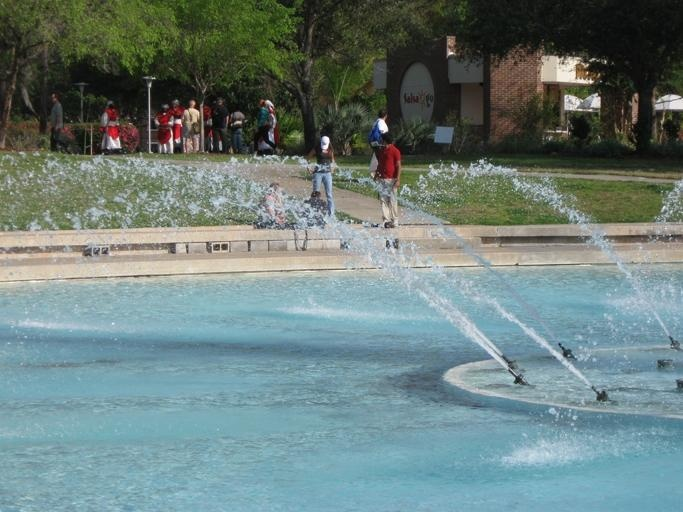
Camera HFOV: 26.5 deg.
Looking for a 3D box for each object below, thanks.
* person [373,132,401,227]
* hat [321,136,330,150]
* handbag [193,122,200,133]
[{"bbox_3d":[1.113,-1.831,34.663,0.587,2.199,1.515,-1,7,1],"label":"person"},{"bbox_3d":[-0.404,-2.794,35.528,0.255,0.322,0.323,3,30,-4],"label":"hat"},{"bbox_3d":[-5.067,-4.426,50.304,0.266,0.374,0.125,-1,2,-20],"label":"handbag"}]
